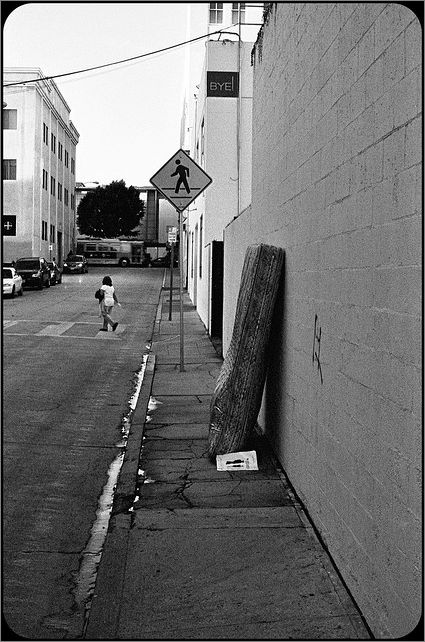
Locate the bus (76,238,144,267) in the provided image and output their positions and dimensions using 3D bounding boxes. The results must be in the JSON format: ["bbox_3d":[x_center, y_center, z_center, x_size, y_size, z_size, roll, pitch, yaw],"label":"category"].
[{"bbox_3d":[-15.746,-10.628,76.839,9.735,4.237,2.156,-1,4,-2],"label":"bus"}]

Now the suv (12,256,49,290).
[{"bbox_3d":[-13.411,-3.635,36.622,1.183,2.353,3.658,0,0,0],"label":"suv"}]

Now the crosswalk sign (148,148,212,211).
[{"bbox_3d":[-0.591,-2.650,9.103,1.008,1.187,0.587,0,4,1],"label":"crosswalk sign"}]
